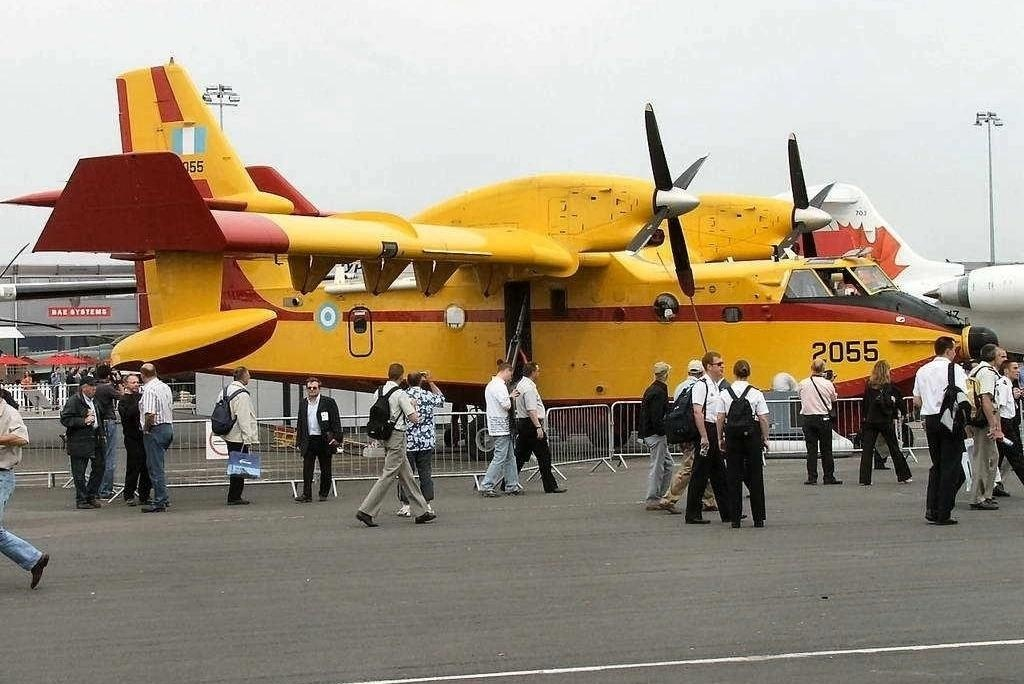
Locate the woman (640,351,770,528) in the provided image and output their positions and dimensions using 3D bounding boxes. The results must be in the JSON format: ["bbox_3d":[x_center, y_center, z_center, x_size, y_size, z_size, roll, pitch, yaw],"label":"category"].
[{"bbox_3d":[2.764,1.392,18.887,0.949,2.392,1.646,-5,9,-22],"label":"woman"}]

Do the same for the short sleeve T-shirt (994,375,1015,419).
[{"bbox_3d":[7.215,0.817,19.328,0.337,0.605,0.712,-1,3,12],"label":"short sleeve T-shirt"}]

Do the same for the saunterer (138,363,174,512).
[{"bbox_3d":[-5.672,1.553,20.978,0.567,2.322,0.911,-4,9,-16],"label":"saunterer"}]

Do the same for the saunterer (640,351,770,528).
[{"bbox_3d":[2.764,1.392,18.887,0.949,2.392,1.646,-5,9,-22],"label":"saunterer"}]

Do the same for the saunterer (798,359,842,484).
[{"bbox_3d":[5.220,1.351,22.282,0.807,2.134,0.721,0,6,5],"label":"saunterer"}]

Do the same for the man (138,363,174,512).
[{"bbox_3d":[-5.672,1.560,20.981,0.567,2.336,0.915,-4,9,-16],"label":"man"}]

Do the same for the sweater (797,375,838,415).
[{"bbox_3d":[5.170,0.859,22.268,0.854,0.873,0.595,1,5,20],"label":"sweater"}]

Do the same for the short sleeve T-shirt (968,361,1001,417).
[{"bbox_3d":[6.690,0.561,18.591,0.372,0.601,0.579,-6,19,8],"label":"short sleeve T-shirt"}]

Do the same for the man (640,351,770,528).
[{"bbox_3d":[2.764,1.392,18.887,0.949,2.392,1.646,-5,9,-22],"label":"man"}]
